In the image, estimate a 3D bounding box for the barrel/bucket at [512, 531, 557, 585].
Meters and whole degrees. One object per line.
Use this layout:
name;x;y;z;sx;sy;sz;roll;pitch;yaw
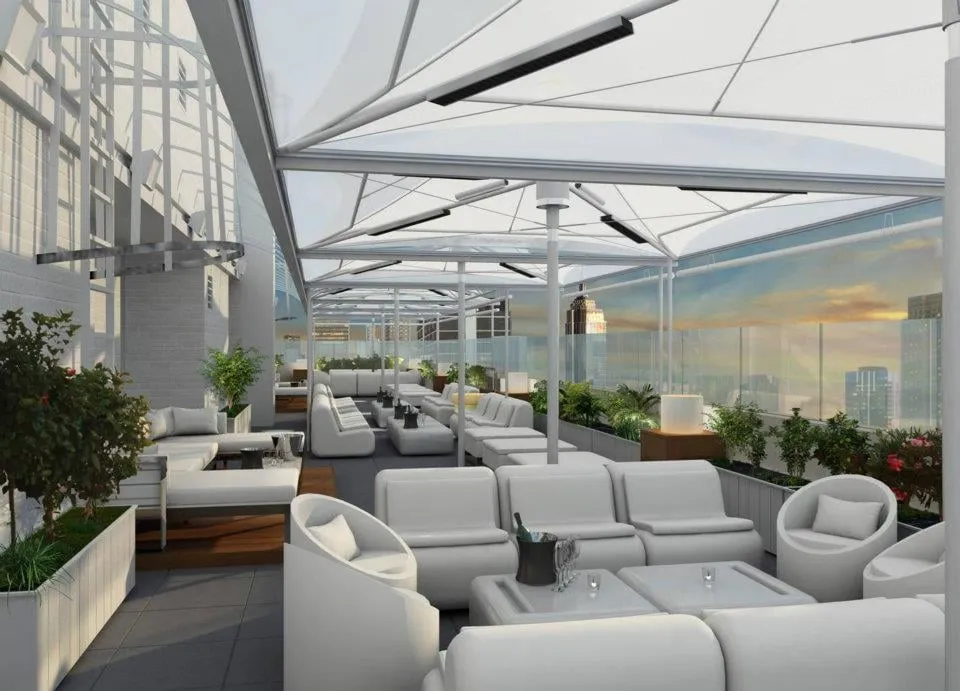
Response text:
barrel/bucket;0.469;1.811;5.433;0.399;0.388;0.404;0;-3;0

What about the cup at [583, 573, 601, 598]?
cup;0.922;1.994;5.153;0.108;0.147;0.108;1;-1;0

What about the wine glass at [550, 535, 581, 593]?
wine glass;0.700;1.834;5.229;0.143;0.353;0.397;0;-3;17

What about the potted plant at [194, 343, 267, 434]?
potted plant;-6.415;0.994;15.235;1.955;1.913;1.670;0;5;-6
